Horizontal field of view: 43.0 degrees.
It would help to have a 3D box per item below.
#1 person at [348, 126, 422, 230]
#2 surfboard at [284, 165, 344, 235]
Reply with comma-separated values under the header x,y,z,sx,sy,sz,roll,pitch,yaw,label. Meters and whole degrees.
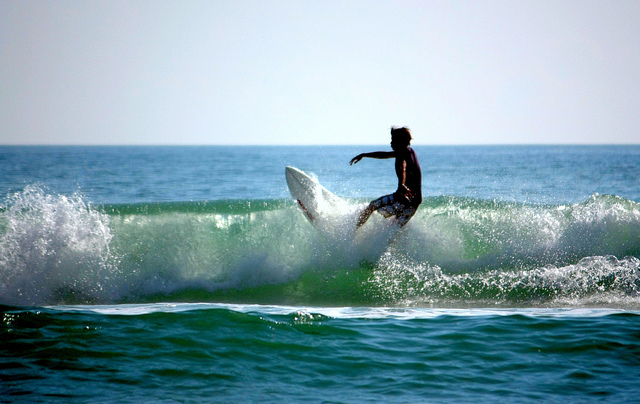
x,y,z,sx,sy,sz,roll,pitch,yaw,label
1.497,-0.482,16.458,1.063,2.015,0.462,-2,6,3,person
-0.198,-0.079,17.178,0.300,0.586,1.952,30,19,-51,surfboard
